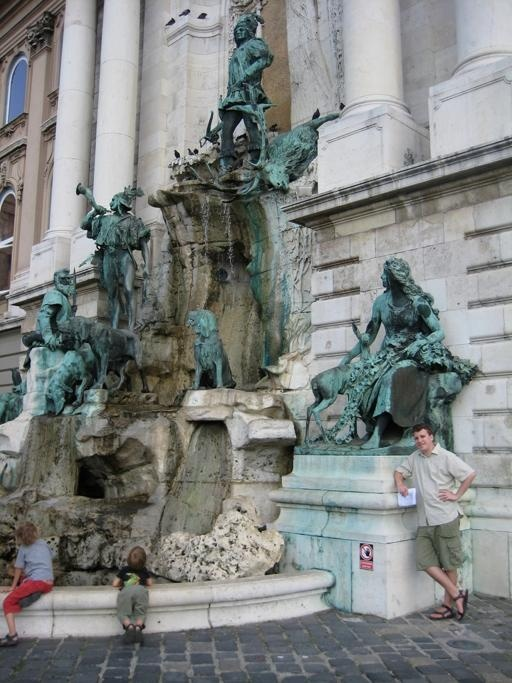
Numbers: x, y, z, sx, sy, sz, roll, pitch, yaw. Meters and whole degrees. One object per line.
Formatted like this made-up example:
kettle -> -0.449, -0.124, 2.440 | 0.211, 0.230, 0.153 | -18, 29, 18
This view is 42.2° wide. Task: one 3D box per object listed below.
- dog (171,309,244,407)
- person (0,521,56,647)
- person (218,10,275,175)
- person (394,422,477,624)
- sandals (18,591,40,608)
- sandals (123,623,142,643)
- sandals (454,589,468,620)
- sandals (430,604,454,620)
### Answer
dog -> -0.654, 0.117, 9.872 | 0.739, 1.287, 0.897 | 4, 0, -6
person -> -1.586, 1.664, 4.637 | 0.306, 0.846, 0.566 | 4, 0, -17
person -> -0.188, -5.094, 13.603 | 0.673, 3.253, 1.190 | 4, -1, -42
person -> 1.364, 1.397, 5.171 | 0.592, 1.398, 0.471 | 4, 0, 18
sandals -> -1.560, 1.786, 4.586 | 0.101, 0.088, 0.026 | -35, 53, -29
sandals -> -0.816, 1.948, 4.446 | 0.125, 0.112, 0.117 | 4, 0, -8
sandals -> 1.596, 2.016, 5.117 | 0.102, 0.248, 0.094 | 2, 9, 5
sandals -> 1.462, 2.121, 5.197 | 0.188, 0.075, 0.093 | 10, -22, -22
